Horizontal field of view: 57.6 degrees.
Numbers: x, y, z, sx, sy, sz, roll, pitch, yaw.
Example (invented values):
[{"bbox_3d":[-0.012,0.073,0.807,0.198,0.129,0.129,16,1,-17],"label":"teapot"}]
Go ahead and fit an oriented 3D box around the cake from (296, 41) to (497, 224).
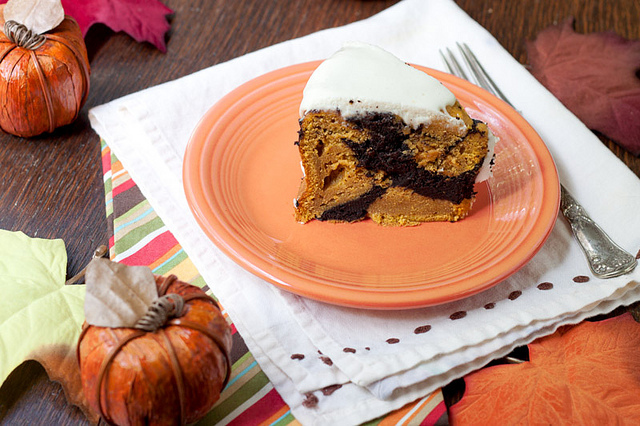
[{"bbox_3d":[0.204,-0.210,1.895,0.594,0.464,0.503,15,38,15],"label":"cake"}]
